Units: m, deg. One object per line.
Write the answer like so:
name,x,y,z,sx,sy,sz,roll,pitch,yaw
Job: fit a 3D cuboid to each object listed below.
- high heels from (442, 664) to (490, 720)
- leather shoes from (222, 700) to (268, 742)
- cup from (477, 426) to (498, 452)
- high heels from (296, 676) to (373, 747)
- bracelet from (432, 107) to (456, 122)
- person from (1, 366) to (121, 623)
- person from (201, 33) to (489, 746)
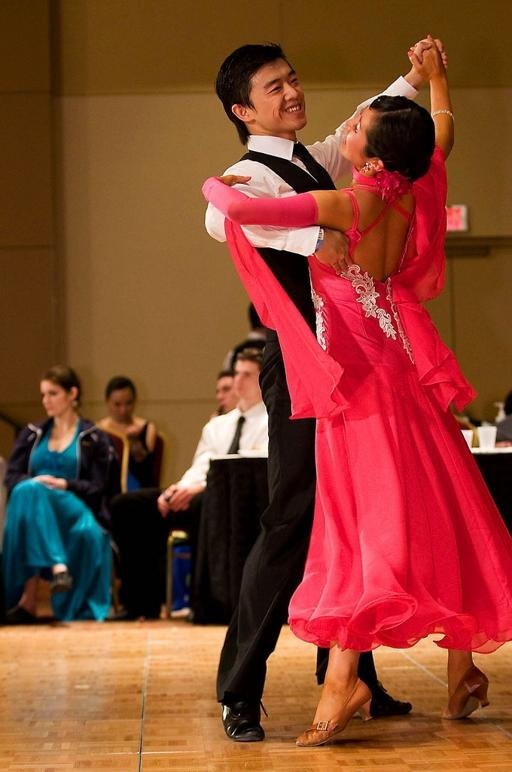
high heels,0.443,0.642,1.573,0.056,0.085,0.160,-13,-24,-22
leather shoes,-0.027,0.667,1.506,0.075,0.063,0.143,0,0,-7
cup,0.869,0.200,2.829,0.097,0.096,0.094,1,-12,0
high heels,0.155,0.631,1.435,0.089,0.142,0.156,0,0,42
bracelet,0.449,-0.654,1.787,0.053,0.014,0.044,0,0,7
person,-0.978,0.505,3.673,0.537,1.211,0.615,0,0,-11
person,0.115,-0.032,1.681,0.456,1.545,0.606,0,0,36
